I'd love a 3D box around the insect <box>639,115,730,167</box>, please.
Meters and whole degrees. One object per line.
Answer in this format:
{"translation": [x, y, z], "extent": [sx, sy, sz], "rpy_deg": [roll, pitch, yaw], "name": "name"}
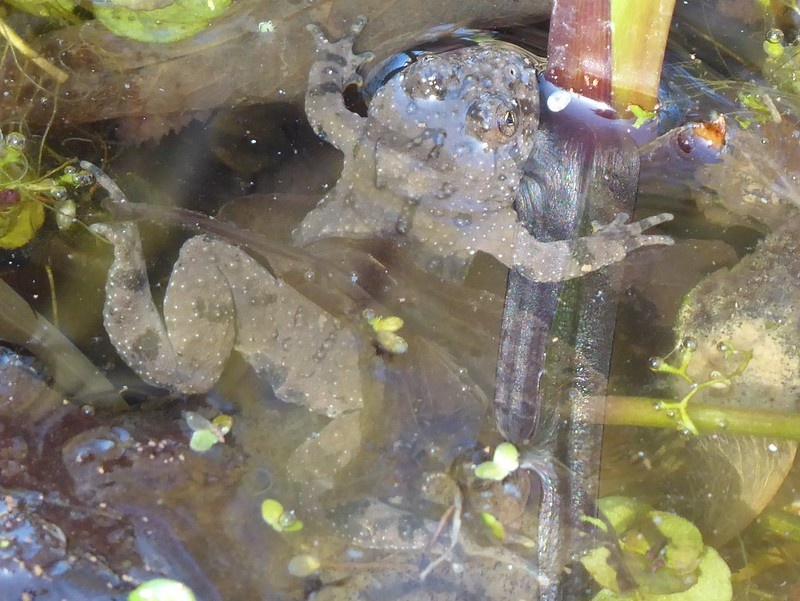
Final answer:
{"translation": [1.774, -0.954, 5.653], "extent": [0.436, 0.187, 0.260], "rpy_deg": [-27, 97, 8], "name": "insect"}
